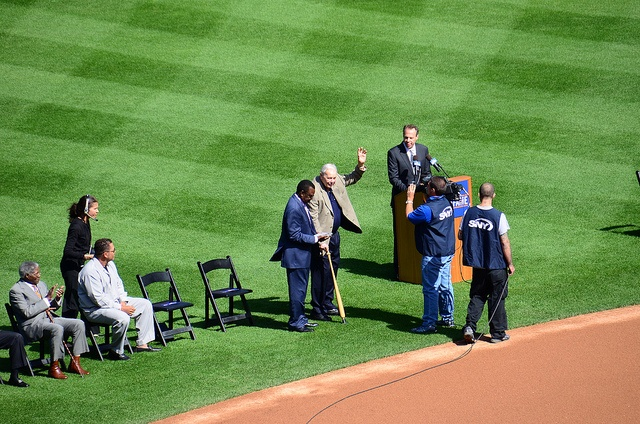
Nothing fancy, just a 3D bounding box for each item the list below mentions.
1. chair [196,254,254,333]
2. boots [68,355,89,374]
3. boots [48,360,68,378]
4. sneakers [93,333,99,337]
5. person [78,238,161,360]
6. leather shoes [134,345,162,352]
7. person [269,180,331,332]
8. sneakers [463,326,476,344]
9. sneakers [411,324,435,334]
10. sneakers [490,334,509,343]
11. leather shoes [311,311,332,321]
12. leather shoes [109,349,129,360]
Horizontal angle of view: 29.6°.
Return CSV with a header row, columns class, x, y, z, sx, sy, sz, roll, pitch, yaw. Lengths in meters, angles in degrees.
class,x,y,z,sx,sy,sz,roll,pitch,yaw
chair,-2.240,1.917,28.614,1.167,1.712,1.381,-5,-3,-5
boots,-5.344,3.346,26.715,0.444,0.467,0.281,-5,-4,-15
boots,-5.784,3.441,26.597,0.402,0.397,0.265,-5,-4,-12
sneakers,-5.144,2.809,27.832,0.080,0.066,0.194,-4,0,-1
person,-4.628,1.953,27.273,1.604,2.693,0.503,-5,-4,-11
leather shoes,-3.904,3.062,27.370,0.580,0.143,0.193,-1,1,-2
person,-0.459,1.039,27.917,1.173,3.393,0.659,-6,-3,6
sneakers,3.296,2.699,26.929,0.197,0.216,0.475,-8,-45,20
sneakers,2.374,2.657,27.707,0.622,0.239,0.198,2,-3,5
sneakers,3.994,2.818,27.009,0.432,0.148,0.189,-16,-34,1
leather shoes,0.090,2.435,28.406,0.579,0.221,0.184,1,0,3
leather shoes,-4.544,3.169,27.101,0.513,0.196,0.179,3,0,3
